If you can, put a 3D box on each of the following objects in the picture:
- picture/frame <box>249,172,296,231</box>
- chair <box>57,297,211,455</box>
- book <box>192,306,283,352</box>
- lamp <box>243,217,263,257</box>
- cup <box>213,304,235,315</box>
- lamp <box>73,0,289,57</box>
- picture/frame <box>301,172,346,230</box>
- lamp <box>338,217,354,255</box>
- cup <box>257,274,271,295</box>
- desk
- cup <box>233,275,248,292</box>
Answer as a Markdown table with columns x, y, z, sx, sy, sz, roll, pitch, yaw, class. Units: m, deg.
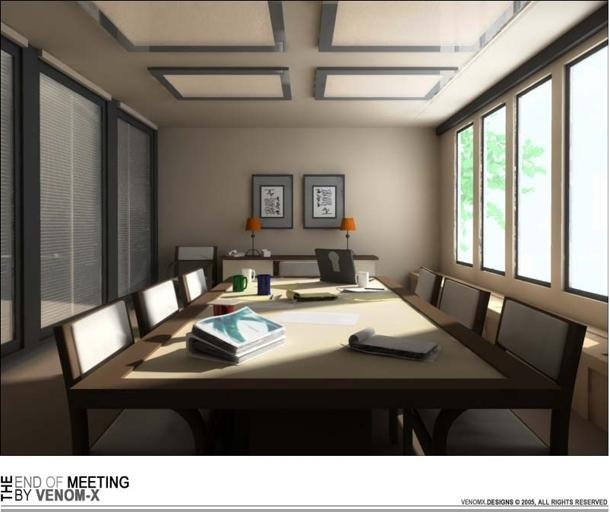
| x | y | z | sx | sy | sz | roll | pitch | yaw | class |
| --- | --- | --- | --- | --- | --- | --- | --- | --- | --- |
| -0.470 | -0.811 | 5.895 | 0.793 | 1.045 | 0.071 | 0 | 0 | -3 | picture/frame |
| -0.696 | 0.518 | 1.694 | 0.449 | 0.616 | 0.454 | -1 | 19 | -13 | chair |
| -0.254 | 0.234 | 1.547 | 0.173 | 0.054 | 0.181 | 8 | 8 | 40 | book |
| -0.702 | -0.277 | 5.821 | 0.223 | 0.536 | 0.361 | -3 | 12 | -7 | lamp |
| -0.368 | 0.224 | 1.895 | 0.061 | 0.063 | 0.063 | 1 | 5 | 0 | cup |
| -0.838 | -1.690 | 3.103 | 1.388 | 0.193 | 0.704 | -1 | 13 | 0 | lamp |
| 0.273 | -0.812 | 5.884 | 0.779 | 1.036 | 0.067 | 0 | 4 | 0 | picture/frame |
| 0.603 | -0.316 | 5.797 | 0.201 | 0.460 | 0.393 | 1 | 12 | 7 | lamp |
| -0.254 | 0.177 | 2.673 | 0.108 | 0.128 | 0.110 | 1 | -1 | 0 | cup |
| 0.070 | 0.489 | 1.726 | 1.649 | 0.400 | 0.871 | -1 | 13 | 0 | desk |
| -0.439 | 0.173 | 2.822 | 0.073 | 0.113 | 0.115 | -4 | -6 | 42 | cup |
